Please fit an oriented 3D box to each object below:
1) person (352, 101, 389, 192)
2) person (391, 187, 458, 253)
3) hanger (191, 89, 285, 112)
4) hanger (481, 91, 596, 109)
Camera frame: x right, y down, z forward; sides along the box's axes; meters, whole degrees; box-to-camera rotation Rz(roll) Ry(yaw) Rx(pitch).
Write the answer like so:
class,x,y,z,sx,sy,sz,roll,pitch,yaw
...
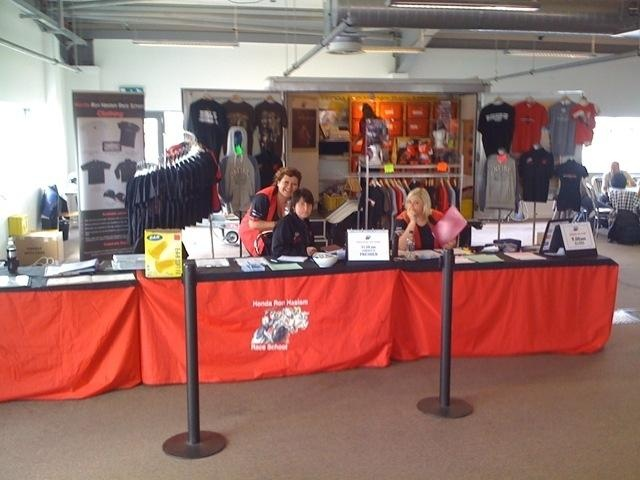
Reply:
class,x,y,z,sx,sy,sz,roll,pitch,yaw
person,0.810,-1.410,8.828,0.446,1.300,1.265,-1,9,4
person,1.034,-0.024,5.905,0.556,0.967,0.493,-9,7,-2
hanger,-1.157,-1.938,8.007,1.402,0.273,0.188,-6,9,-17
hanger,3.193,-2.105,8.756,1.548,0.246,0.388,-4,10,-8
